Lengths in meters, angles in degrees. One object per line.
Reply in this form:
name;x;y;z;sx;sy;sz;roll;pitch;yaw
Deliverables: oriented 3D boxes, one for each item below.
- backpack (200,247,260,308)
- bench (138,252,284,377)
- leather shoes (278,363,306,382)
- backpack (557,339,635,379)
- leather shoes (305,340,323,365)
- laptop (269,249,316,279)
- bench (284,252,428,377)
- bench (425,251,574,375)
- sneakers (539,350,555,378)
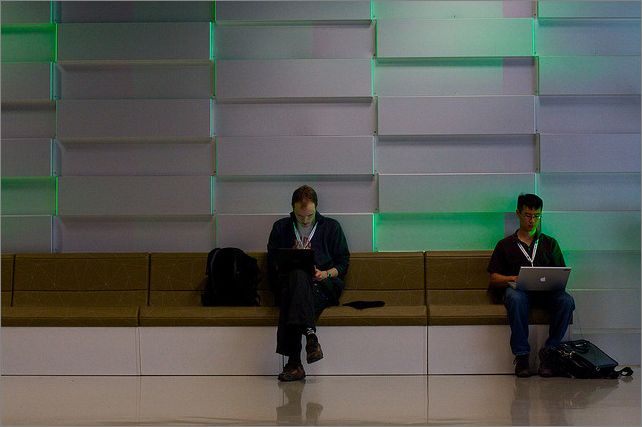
backpack;-0.791;0.581;7.760;0.559;0.606;0.426;0;-3;-4
bench;-1.143;0.888;7.764;1.299;1.077;0.965;3;-4;-23
leather shoes;-0.251;1.325;7.139;0.226;0.152;0.110;4;-10;-14
backpack;2.236;1.244;7.225;0.373;0.200;0.431;2;1;-32
leather shoes;-0.072;1.141;7.086;0.185;0.187;0.174;-2;-3;-23
laptop;-0.227;0.406;7.330;0.322;0.206;0.228;1;5;4
bench;0.526;0.827;7.631;0.804;0.728;0.643;2;12;15
bench;1.433;0.878;7.697;0.996;0.931;0.732;-2;1;7
sneakers;1.899;1.266;7.245;0.093;0.276;0.118;0;-14;11
